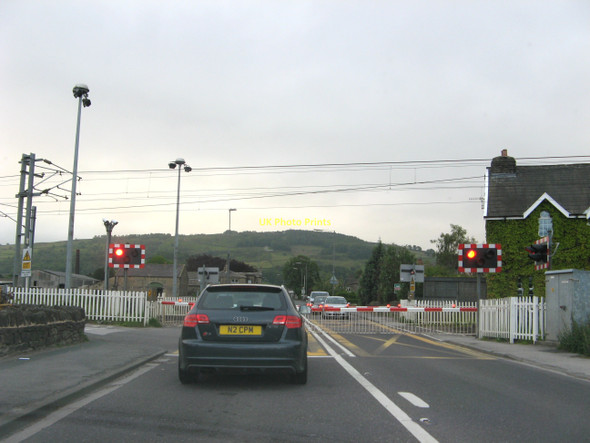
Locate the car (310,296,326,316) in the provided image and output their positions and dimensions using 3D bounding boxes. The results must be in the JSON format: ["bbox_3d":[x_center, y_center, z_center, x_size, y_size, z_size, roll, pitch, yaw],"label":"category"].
[{"bbox_3d":[1.661,6.081,42.744,1.197,1.166,2.112,0,-12,2],"label":"car"}]

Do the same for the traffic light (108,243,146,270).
[{"bbox_3d":[-7.887,1.644,28.041,1.501,1.186,0.116,0,-8,-8],"label":"traffic light"}]

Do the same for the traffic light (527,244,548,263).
[{"bbox_3d":[8.418,1.138,20.579,0.600,0.826,0.580,1,-5,-1],"label":"traffic light"}]

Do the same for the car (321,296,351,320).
[{"bbox_3d":[2.268,4.843,33.411,1.192,0.991,2.833,1,0,1],"label":"car"}]

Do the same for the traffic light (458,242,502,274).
[{"bbox_3d":[7.281,1.474,23.533,1.572,1.268,1.299,0,-8,17],"label":"traffic light"}]
